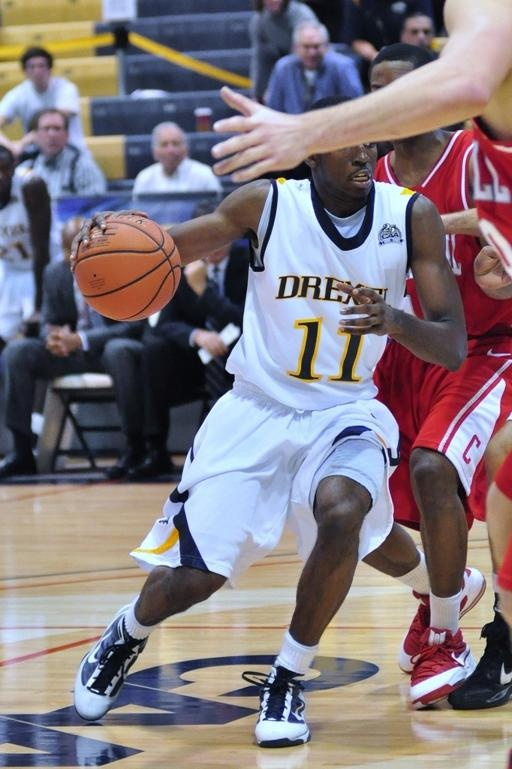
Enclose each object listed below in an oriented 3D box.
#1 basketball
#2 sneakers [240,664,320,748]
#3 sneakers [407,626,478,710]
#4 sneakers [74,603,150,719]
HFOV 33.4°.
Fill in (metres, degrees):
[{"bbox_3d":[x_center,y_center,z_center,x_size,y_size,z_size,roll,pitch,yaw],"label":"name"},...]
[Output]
[{"bbox_3d":[-0.277,-0.239,1.761,0.197,0.199,0.151,15,23,21],"label":"basketball"},{"bbox_3d":[0.033,0.630,1.698,0.115,0.099,0.248,4,1,7],"label":"sneakers"},{"bbox_3d":[0.412,0.633,1.905,0.090,0.099,0.227,-28,2,29],"label":"sneakers"},{"bbox_3d":[-0.320,0.627,1.901,0.091,0.108,0.257,37,57,-7],"label":"sneakers"}]
